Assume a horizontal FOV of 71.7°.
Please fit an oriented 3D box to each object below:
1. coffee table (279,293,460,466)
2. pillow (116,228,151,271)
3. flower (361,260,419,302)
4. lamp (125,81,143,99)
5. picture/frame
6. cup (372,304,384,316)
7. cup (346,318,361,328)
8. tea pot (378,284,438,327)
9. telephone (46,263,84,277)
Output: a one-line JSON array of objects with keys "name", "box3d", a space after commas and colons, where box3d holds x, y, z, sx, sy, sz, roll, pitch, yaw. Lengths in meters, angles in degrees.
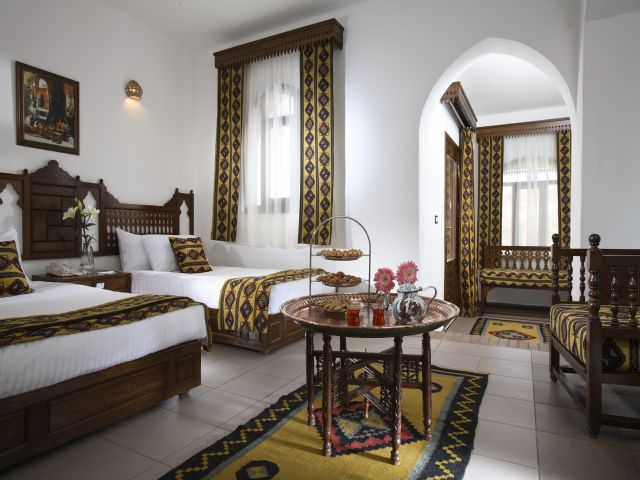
[{"name": "coffee table", "box3d": [0.322, 0.869, 3.418, 1.096, 0.866, 1.143, 0, -2, -6]}, {"name": "pillow", "box3d": [-2.367, 0.126, 5.586, 0.135, 0.493, 0.480, -20, -5, 34]}, {"name": "flower", "box3d": [0.528, 0.329, 3.245, 0.156, 0.274, 0.388, 9, -32, -43]}, {"name": "lamp", "box3d": [-2.465, -2.007, 5.903, 0.107, 0.262, 0.275, 6, 13, 33]}, {"name": "picture/frame", "box3d": [-3.095, -1.487, 5.041, 0.098, 0.962, 0.719, 7, 13, 36]}, {"name": "cup", "box3d": [0.396, 0.491, 3.039, 0.058, 0.068, 0.057, 0, 1, 0]}, {"name": "cup", "box3d": [0.224, 0.559, 2.954, 0.087, 0.043, 0.100, -1, 11, -6]}, {"name": "tea pot", "box3d": [0.634, 0.416, 3.196, 0.338, 0.263, 0.537, 3, 12, 15]}, {"name": "telephone", "box3d": [-2.836, 0.333, 4.918, 0.427, 0.118, 0.216, 5, 12, 23]}]
